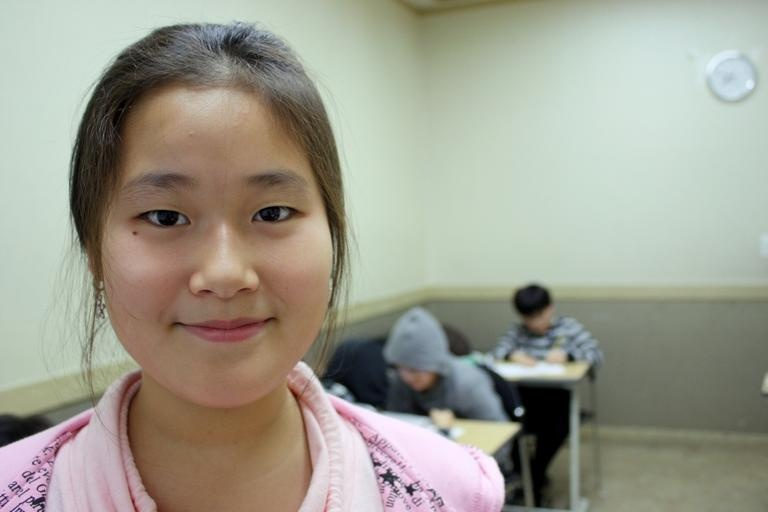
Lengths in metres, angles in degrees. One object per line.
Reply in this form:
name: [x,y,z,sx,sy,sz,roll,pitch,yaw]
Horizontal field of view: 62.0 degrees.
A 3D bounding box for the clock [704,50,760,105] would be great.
clock: [0.468,-0.239,0.852,0.071,0.067,0.032,-7,11,-16]
